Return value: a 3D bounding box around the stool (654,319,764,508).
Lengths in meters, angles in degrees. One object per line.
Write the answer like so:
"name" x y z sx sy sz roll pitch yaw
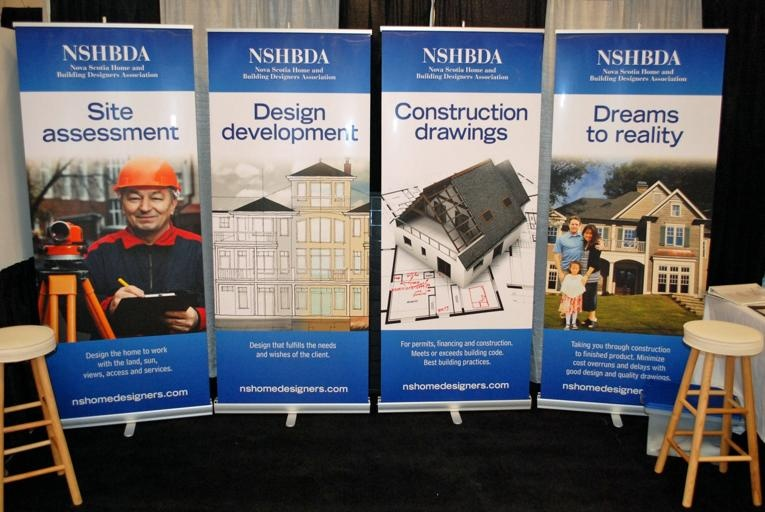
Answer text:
"stool" 2.350 1.063 4.714 0.752 1.198 0.629 -3 10 -17

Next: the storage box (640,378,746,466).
"storage box" 2.294 1.257 5.035 0.604 0.574 0.607 1 16 8
